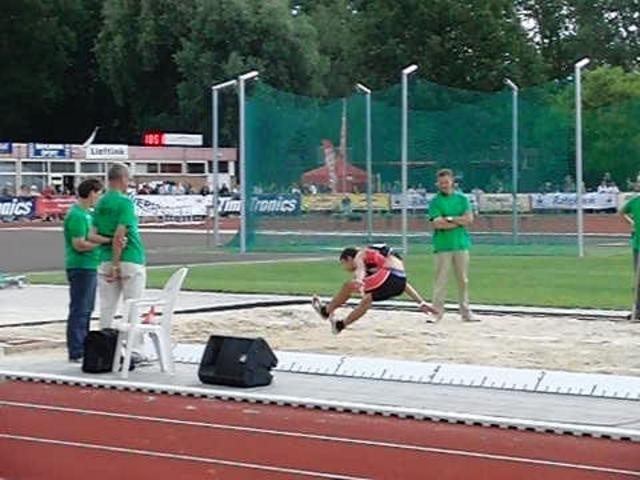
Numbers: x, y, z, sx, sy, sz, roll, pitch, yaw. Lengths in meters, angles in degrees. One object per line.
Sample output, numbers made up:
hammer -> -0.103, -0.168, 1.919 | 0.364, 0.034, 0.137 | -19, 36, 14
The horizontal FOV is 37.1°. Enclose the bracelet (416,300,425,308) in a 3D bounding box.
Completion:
bracelet -> 1.447, 0.927, 13.724 | 0.076, 0.059, 0.077 | 3, 9, 28

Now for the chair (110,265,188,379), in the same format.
chair -> -2.274, 1.024, 12.312 | 1.261, 1.693, 1.295 | 5, -4, -20

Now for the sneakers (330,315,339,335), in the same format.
sneakers -> 0.189, 1.162, 12.922 | 0.111, 0.245, 0.087 | -2, -9, 12

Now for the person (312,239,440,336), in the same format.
person -> 0.635, 0.692, 13.380 | 1.049, 1.252, 1.513 | 6, 10, 40

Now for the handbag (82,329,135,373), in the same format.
handbag -> -2.724, 1.403, 11.775 | 0.430, 0.558, 0.547 | -3, -9, 40

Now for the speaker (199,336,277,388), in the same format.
speaker -> -0.996, 1.432, 11.226 | 0.874, 0.573, 0.391 | 2, 8, 21
